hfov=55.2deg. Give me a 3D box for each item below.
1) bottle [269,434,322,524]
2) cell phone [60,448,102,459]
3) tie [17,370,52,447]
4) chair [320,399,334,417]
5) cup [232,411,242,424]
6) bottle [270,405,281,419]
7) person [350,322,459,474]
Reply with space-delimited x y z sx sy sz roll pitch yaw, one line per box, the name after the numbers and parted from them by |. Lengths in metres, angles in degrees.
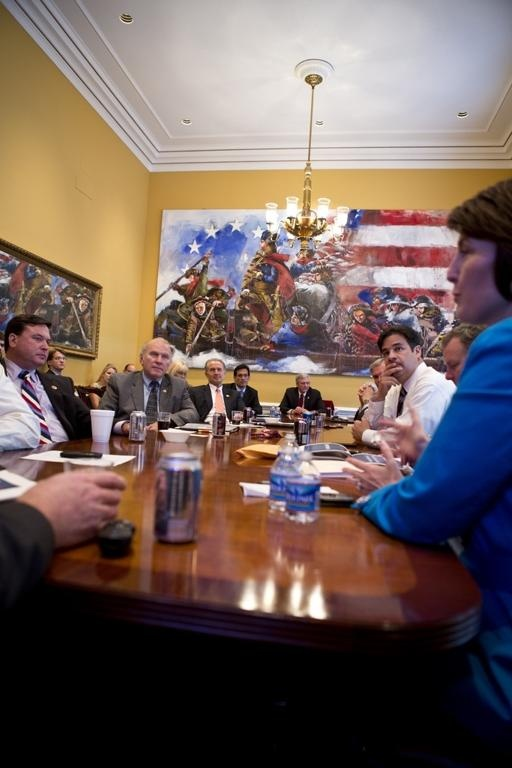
0.077 0.205 1.012 0.121 0.206 0.133 1 -8 0 | bottle
-0.519 0.211 1.459 0.118 0.015 0.063 5 -3 -37 | cell phone
-1.113 0.125 2.452 0.513 0.076 0.061 55 4 36 | tie
1.008 0.323 6.739 0.173 0.229 0.218 0 -10 2 | chair
-0.165 0.306 4.396 0.071 0.109 0.112 0 -10 1 | cup
0.231 0.334 5.505 0.104 0.182 0.101 0 40 0 | bottle
0.939 0.187 3.126 0.688 1.021 0.538 3 -3 10 | person
